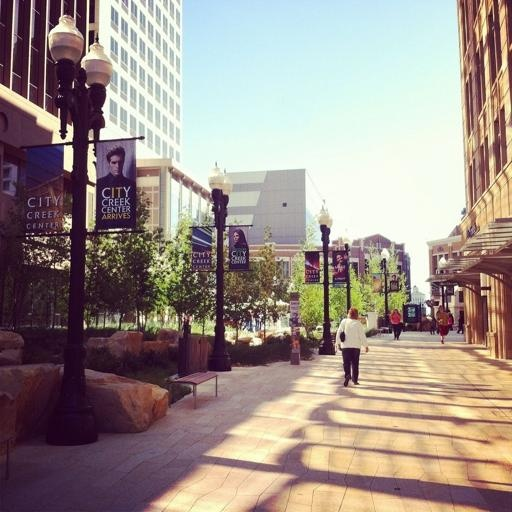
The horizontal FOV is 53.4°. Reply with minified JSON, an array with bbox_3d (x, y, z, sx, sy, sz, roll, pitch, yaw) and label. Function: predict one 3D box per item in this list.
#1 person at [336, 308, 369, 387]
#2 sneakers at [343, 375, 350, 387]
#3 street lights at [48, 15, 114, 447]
[{"bbox_3d":[2.431,2.256,12.890,0.589,2.030,0.615,0,14,11],"label":"person"},{"bbox_3d":[2.152,3.010,12.218,0.090,0.309,0.101,4,-12,22],"label":"sneakers"},{"bbox_3d":[-2.501,-0.518,7.105,0.815,5.979,0.945,2,-6,-20],"label":"street lights"}]
